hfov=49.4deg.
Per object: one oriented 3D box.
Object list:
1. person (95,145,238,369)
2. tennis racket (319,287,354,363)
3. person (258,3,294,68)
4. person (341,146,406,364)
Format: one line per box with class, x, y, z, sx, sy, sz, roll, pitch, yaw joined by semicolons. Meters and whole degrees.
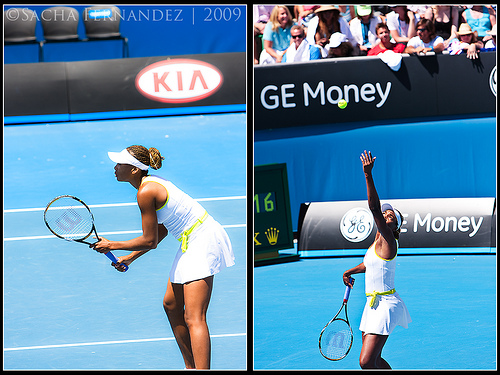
person;-0.796;0.735;5.198;1.228;2.283;0.806;-5;8;-22
tennis racket;0.928;1.459;5.789;0.308;0.857;0.071;15;6;28
person;0.296;-1.685;6.008;0.437;0.708;0.213;-3;7;-7
person;1.359;0.924;5.862;0.644;1.956;0.366;-5;8;-23
